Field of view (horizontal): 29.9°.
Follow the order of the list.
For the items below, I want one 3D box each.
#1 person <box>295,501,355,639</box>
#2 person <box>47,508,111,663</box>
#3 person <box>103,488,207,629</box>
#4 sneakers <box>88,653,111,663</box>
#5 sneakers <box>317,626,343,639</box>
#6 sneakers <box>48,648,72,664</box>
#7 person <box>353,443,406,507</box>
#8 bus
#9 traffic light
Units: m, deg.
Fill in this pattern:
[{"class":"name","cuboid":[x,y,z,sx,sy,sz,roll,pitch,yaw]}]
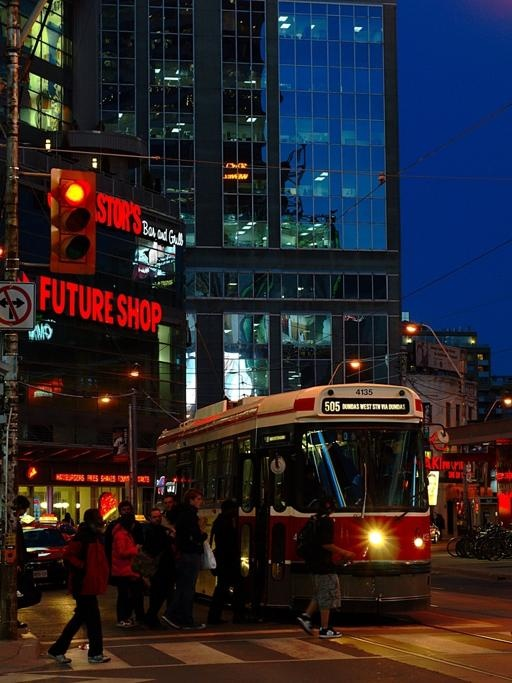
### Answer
[{"class":"person","cuboid":[0.770,2.531,10.998,0.636,1.476,1.327,-3,0,2]},{"class":"person","cuboid":[-1.740,2.469,9.512,0.574,1.524,1.192,-3,0,-10]},{"class":"person","cuboid":[-1.382,2.841,12.340,1.023,1.605,1.103,-3,0,-9]},{"class":"sneakers","cuboid":[-1.466,2.984,9.059,0.215,0.105,0.080,-1,13,-8]},{"class":"sneakers","cuboid":[0.812,3.176,10.437,0.276,0.117,0.101,0,1,-15]},{"class":"sneakers","cuboid":[-1.873,3.042,9.205,0.116,0.115,0.326,-27,-32,21]},{"class":"person","cuboid":[1.549,1.743,12.180,0.559,0.768,0.352,0,18,9]},{"class":"bus","cuboid":[0.906,2.207,13.705,1.985,2.408,6.584,1,-9,-19]},{"class":"traffic light","cuboid":[-2.060,-1.391,10.814,0.552,1.207,0.772,-3,1,-11]}]
